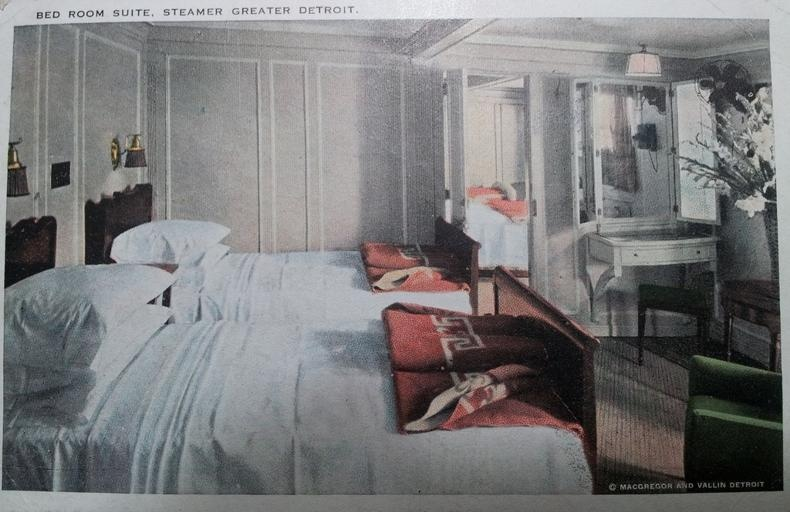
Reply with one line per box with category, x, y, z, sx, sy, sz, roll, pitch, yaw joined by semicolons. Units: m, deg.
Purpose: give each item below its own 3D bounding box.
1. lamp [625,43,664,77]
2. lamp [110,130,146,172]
lamp;1.325;-1.039;3.316;0.182;0.183;0.198;1;-2;41
lamp;-1.372;-0.551;3.203;0.163;0.157;0.111;-4;16;-27
